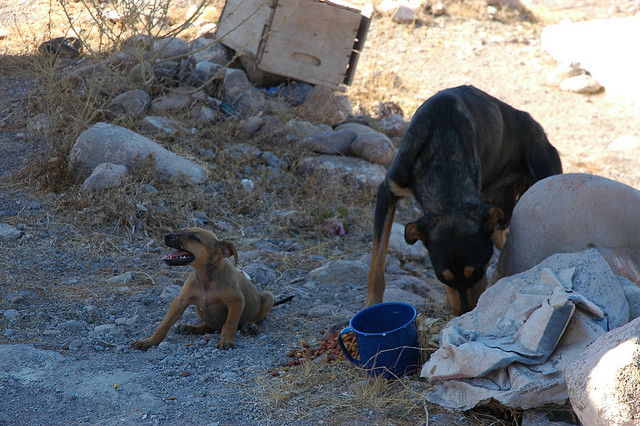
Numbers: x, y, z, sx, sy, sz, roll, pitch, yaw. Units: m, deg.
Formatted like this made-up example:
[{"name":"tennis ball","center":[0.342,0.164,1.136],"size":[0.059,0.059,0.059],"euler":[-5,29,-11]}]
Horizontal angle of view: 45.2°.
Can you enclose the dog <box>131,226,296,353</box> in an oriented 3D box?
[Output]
[{"name":"dog","center":[-1.054,0.890,9.353],"size":[1.093,1.379,2.460],"euler":[1,0,32]}]
